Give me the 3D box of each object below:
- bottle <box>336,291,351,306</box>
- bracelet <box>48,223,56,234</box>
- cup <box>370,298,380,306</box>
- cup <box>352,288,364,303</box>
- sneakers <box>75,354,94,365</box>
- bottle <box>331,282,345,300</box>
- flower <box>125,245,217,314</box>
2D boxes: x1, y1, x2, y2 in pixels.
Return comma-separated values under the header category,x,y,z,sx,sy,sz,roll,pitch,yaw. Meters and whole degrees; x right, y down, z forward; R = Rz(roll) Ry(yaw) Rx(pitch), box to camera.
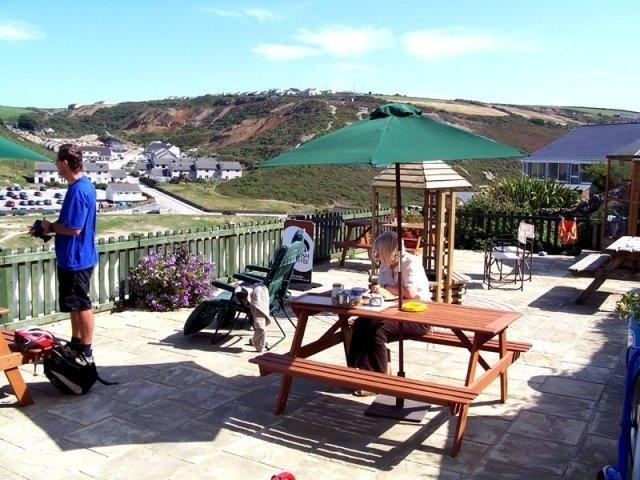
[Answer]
category,x,y,z,sx,sy,sz,roll,pitch,yaw
bottle,0.222,0.568,4.563,0.135,0.107,0.134,0,0,0
bracelet,-2.794,-0.122,4.969,0.099,0.101,0.128,2,13,-14
cup,0.539,0.603,4.592,0.120,0.054,0.076,0,4,19
cup,0.334,0.542,4.645,0.166,0.118,0.132,0,2,-2
sneakers,-2.435,1.236,4.916,0.115,0.125,0.095,-44,-2,1
bottle,0.142,0.516,4.691,0.203,0.141,0.160,3,-2,-4
flower,-2.583,0.664,8.448,1.604,0.737,1.408,-11,17,-31
